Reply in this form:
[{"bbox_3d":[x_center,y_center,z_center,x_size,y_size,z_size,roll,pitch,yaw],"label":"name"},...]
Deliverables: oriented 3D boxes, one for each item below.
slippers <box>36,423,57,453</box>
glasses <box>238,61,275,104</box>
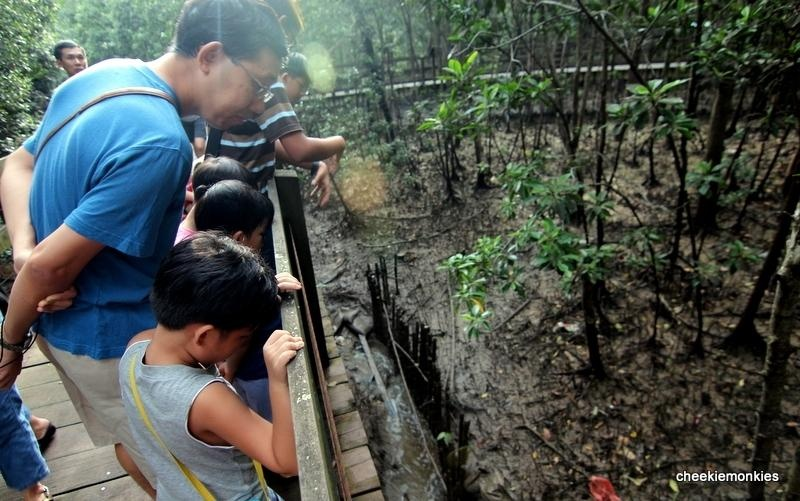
[{"bbox_3d":[-2.811,1.513,4.408,0.085,0.232,0.086,7,-29,-32],"label":"slippers"},{"bbox_3d":[-0.966,-1.109,3.665,0.063,0.198,0.192,-29,-1,12],"label":"glasses"}]
